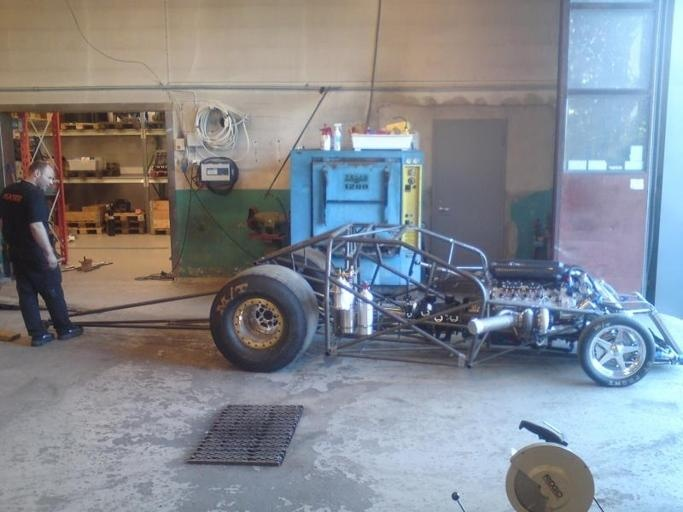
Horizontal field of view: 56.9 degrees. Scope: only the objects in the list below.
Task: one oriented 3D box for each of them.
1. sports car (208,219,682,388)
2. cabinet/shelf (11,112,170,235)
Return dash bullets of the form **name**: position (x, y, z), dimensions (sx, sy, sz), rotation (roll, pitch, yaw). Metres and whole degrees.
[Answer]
- **sports car**: position (0.854, 0.435, 5.839), dimensions (3.409, 1.068, 1.974), rotation (-1, 3, 8)
- **cabinet/shelf**: position (-4.659, -1.629, 11.935), dimensions (2.962, 2.919, 1.013), rotation (-1, 4, 1)
